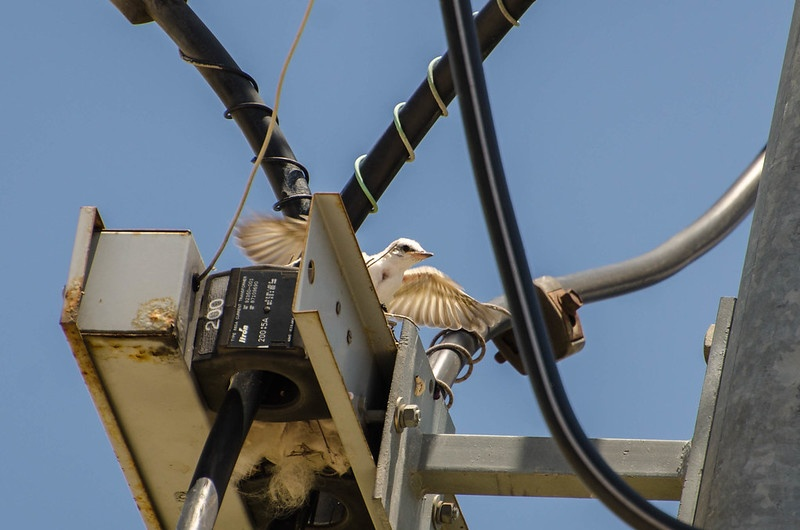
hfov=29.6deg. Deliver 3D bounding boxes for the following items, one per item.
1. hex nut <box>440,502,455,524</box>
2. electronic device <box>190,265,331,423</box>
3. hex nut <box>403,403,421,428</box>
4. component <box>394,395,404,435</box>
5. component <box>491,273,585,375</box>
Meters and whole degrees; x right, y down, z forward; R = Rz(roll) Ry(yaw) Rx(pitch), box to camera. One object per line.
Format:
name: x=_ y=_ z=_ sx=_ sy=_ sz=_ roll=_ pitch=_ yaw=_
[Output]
hex nut: x=0.183 y=0.974 z=5.919 sx=0.040 sy=0.088 sz=0.081 roll=2 pitch=2 yaw=17
electronic device: x=-0.568 y=0.353 z=5.629 sx=0.451 sy=0.571 sz=0.501 roll=17 pitch=-10 yaw=-2
hex nut: x=0.040 y=0.547 z=5.504 sx=0.057 sy=0.094 sz=0.086 roll=-1 pitch=1 yaw=15
component: x=0.004 y=0.538 z=5.472 sx=0.024 sy=0.126 sz=0.080 roll=-7 pitch=-9 yaw=26
component: x=0.622 y=0.221 z=7.029 sx=0.553 sy=0.451 sz=0.212 roll=-3 pitch=-30 yaw=20
